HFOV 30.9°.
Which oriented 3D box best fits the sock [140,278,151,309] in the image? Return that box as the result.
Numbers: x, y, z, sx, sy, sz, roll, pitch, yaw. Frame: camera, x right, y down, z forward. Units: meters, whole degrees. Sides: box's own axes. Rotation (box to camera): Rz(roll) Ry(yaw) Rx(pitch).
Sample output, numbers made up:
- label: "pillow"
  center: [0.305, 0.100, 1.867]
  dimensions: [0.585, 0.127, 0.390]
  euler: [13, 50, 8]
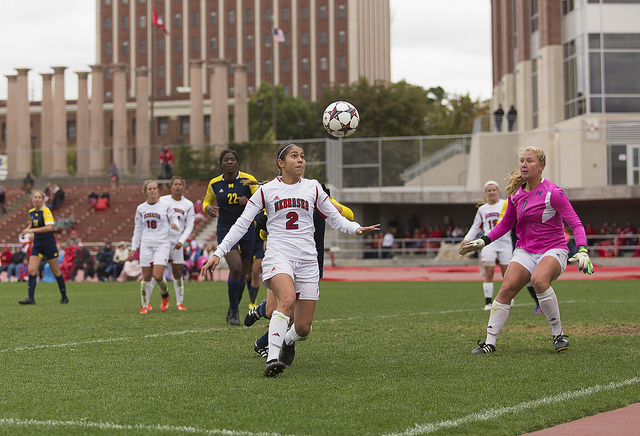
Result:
- label: "sock"
  center: [-4.854, 2.128, 32.475]
  dimensions: [0.269, 0.808, 0.187]
  euler: [0, -2, -25]

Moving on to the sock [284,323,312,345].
- label: "sock"
  center: [-0.534, 2.739, 27.210]
  dimensions: [0.285, 0.350, 0.635]
  euler: [-26, -7, -40]

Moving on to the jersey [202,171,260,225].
- label: "jersey"
  center: [-2.332, -0.442, 31.143]
  dimensions: [1.647, 1.619, 0.967]
  euler: [-2, 17, -1]

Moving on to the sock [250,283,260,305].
- label: "sock"
  center: [-1.789, 2.085, 31.869]
  dimensions: [0.223, 0.517, 0.280]
  euler: [-1, -1, -5]

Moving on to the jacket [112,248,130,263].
- label: "jacket"
  center: [-7.759, 1.463, 45.377]
  dimensions: [0.633, 0.567, 0.889]
  euler: [0, -2, -11]

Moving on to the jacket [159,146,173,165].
- label: "jacket"
  center: [-7.902, -3.205, 60.059]
  dimensions: [0.605, 0.911, 0.846]
  euler: [-1, -2, -6]

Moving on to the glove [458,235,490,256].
- label: "glove"
  center: [3.767, 0.667, 28.180]
  dimensions: [0.536, 0.218, 0.482]
  euler: [-18, -7, -13]

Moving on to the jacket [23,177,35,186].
- label: "jacket"
  center: [-15.639, -1.975, 62.334]
  dimensions: [0.488, 0.477, 0.446]
  euler: [0, -2, -17]

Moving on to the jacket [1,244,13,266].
- label: "jacket"
  center: [-12.360, 1.482, 45.954]
  dimensions: [0.430, 0.722, 0.891]
  euler: [0, -2, -15]

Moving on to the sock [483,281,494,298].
- label: "sock"
  center: [4.857, 2.065, 33.386]
  dimensions: [0.249, 0.474, 0.420]
  euler: [-1, -2, 6]

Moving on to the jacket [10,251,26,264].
- label: "jacket"
  center: [-11.823, 1.576, 45.640]
  dimensions: [0.683, 0.603, 0.382]
  euler: [4, -4, -6]

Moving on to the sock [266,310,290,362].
- label: "sock"
  center: [-0.952, 2.825, 27.034]
  dimensions: [0.466, 1.565, 0.486]
  euler: [11, 27, 3]

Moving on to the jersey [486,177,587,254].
- label: "jersey"
  center: [5.350, 0.023, 28.352]
  dimensions: [2.804, 2.108, 1.197]
  euler: [4, 5, 41]

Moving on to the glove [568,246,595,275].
- label: "glove"
  center: [6.297, 0.998, 27.505]
  dimensions: [0.579, 0.833, 0.269]
  euler: [5, -43, 9]

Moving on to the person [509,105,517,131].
- label: "person"
  center: [9.540, -4.928, 57.305]
  dimensions: [0.266, 1.256, 0.590]
  euler: [-1, -2, 22]

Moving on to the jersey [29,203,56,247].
- label: "jersey"
  center: [-8.196, 0.248, 34.320]
  dimensions: [1.009, 1.315, 0.520]
  euler: [-6, 2, 37]

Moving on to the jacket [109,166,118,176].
- label: "jacket"
  center: [-10.996, -2.519, 62.002]
  dimensions: [0.419, 0.436, 0.332]
  euler: [4, -4, -3]

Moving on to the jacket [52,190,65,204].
- label: "jacket"
  center: [-13.059, -1.059, 58.083]
  dimensions: [0.656, 0.708, 0.314]
  euler: [0, -2, -36]

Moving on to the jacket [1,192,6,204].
- label: "jacket"
  center: [-16.346, -1.015, 60.112]
  dimensions: [0.224, 0.594, 2.409]
  euler: [0, -2, -15]

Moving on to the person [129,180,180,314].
- label: "person"
  center: [-4.624, 0.794, 32.504]
  dimensions: [1.233, 3.720, 1.032]
  euler: [0, -1, -10]

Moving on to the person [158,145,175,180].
- label: "person"
  center: [-7.911, -2.842, 60.082]
  dimensions: [0.622, 1.715, 0.862]
  euler: [0, -2, -18]

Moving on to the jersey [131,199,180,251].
- label: "jersey"
  center: [-4.586, 0.192, 32.407]
  dimensions: [1.322, 1.433, 0.553]
  euler: [-1, -1, -7]

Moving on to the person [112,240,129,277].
- label: "person"
  center: [-7.751, 1.579, 45.295]
  dimensions: [0.617, 1.354, 1.748]
  euler: [0, -2, -11]

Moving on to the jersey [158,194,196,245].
- label: "jersey"
  center: [-4.074, 0.120, 32.719]
  dimensions: [1.192, 1.548, 0.866]
  euler: [6, 6, 23]

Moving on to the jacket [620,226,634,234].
- label: "jacket"
  center: [13.586, 0.532, 51.201]
  dimensions: [0.550, 0.339, 0.529]
  euler: [-1, -2, 12]
